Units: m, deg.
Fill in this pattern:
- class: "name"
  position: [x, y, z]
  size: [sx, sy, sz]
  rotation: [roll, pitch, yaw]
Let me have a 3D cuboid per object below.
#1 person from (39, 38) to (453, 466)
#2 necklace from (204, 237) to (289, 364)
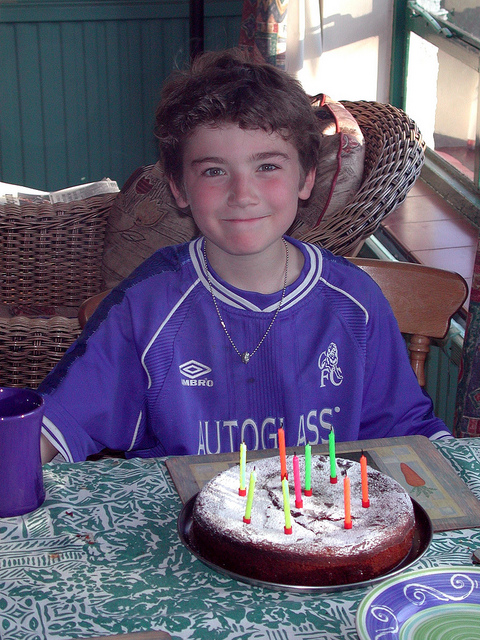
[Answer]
- class: "person"
  position: [-0.028, -0.124, 1.073]
  size: [0.647, 0.748, 0.510]
  rotation: [-5, 15, -7]
- class: "necklace"
  position: [0.019, -0.044, 1.143]
  size: [0.163, 0.198, 0.214]
  rotation: [-3, 14, 0]
